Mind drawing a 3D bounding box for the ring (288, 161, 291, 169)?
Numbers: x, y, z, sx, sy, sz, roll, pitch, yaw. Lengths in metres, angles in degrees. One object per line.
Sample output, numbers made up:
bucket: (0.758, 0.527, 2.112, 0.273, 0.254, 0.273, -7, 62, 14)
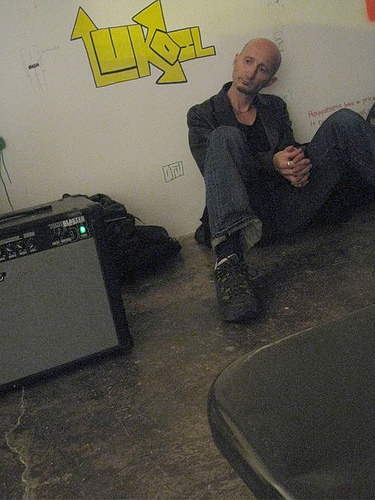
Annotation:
ring: (0.371, -0.308, 1.591, 0.006, 0.030, 0.012, -31, 22, -36)
